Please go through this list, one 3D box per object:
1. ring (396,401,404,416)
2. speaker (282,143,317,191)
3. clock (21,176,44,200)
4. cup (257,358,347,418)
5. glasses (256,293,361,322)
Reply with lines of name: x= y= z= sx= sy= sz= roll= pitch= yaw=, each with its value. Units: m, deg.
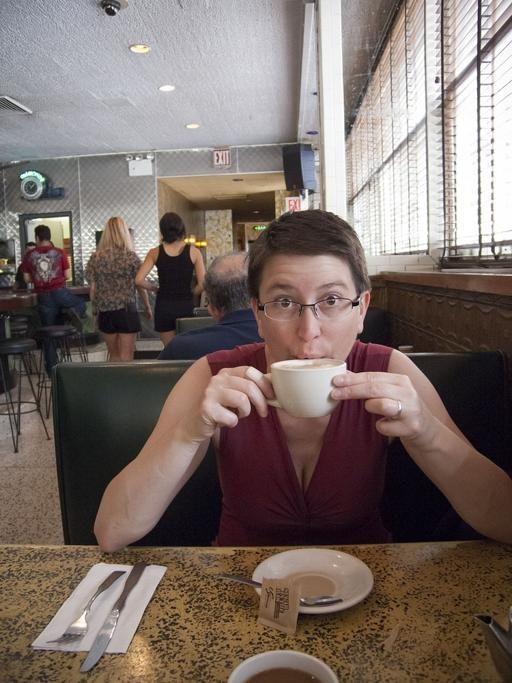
ring: x=0.211 y=0.102 z=0.729 sx=0.012 sy=0.023 sz=0.006 roll=-6 pitch=7 yaw=-22
speaker: x=0.556 y=-2.214 z=6.289 sx=0.387 sy=0.583 sz=0.444 roll=-3 pitch=7 yaw=4
clock: x=-3.957 y=-2.717 z=8.800 sx=0.421 sy=0.412 sz=0.136 roll=5 pitch=2 yaw=11
cup: x=0.065 y=0.058 z=0.690 sx=0.101 sy=0.064 sz=0.086 roll=-2 pitch=1 yaw=42
glasses: x=0.098 y=-0.058 z=0.876 sx=0.171 sy=0.041 sz=0.053 roll=-3 pitch=7 yaw=3
